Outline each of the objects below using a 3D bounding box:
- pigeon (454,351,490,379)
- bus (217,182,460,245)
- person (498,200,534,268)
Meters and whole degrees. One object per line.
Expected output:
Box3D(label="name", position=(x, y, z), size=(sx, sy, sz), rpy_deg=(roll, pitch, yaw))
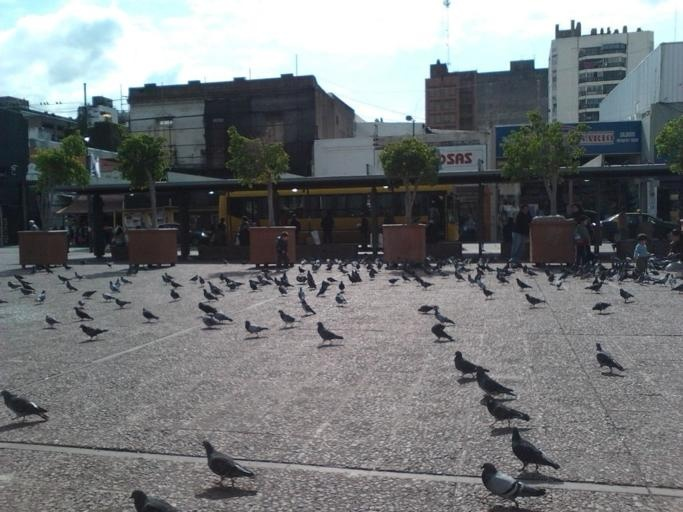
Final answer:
Box3D(label="pigeon", position=(2.090, 1.724, 14.281), size=(0.599, 0.444, 0.280), rpy_deg=(3, 0, 10))
Box3D(label="bus", position=(-0.536, -1.120, 40.326), size=(12.426, 3.519, 3.794), rpy_deg=(1, 9, 10))
Box3D(label="person", position=(6.232, -0.648, 32.360), size=(1.063, 2.733, 1.224), rpy_deg=(4, 9, 12))
